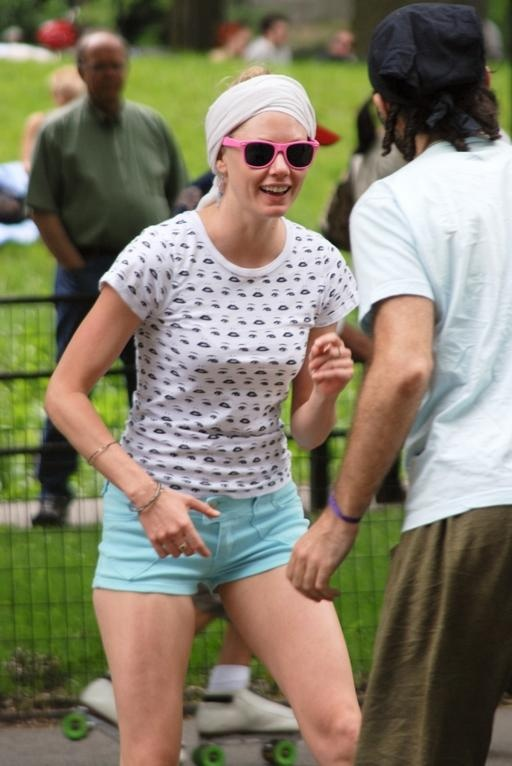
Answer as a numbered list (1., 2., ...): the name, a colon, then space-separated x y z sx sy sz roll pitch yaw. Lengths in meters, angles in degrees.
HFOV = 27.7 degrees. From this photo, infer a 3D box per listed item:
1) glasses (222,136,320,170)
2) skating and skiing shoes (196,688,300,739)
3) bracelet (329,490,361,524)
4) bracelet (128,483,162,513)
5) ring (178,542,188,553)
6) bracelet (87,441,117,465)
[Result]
1. glasses: 0.064 -0.609 2.691 0.374 0.082 0.150 -14 22 -33
2. skating and skiing shoes: -0.027 1.103 3.515 0.430 0.127 0.124 7 -7 -21
3. bracelet: 0.203 0.294 2.446 0.018 0.077 0.072 -45 50 -1
4. bracelet: -0.263 0.291 2.559 0.072 0.074 0.043 -8 27 -16
5. ring: -0.181 0.406 2.561 0.015 0.025 0.019 40 71 8
6. bracelet: -0.382 0.173 2.594 0.063 0.017 0.065 -28 -3 -35
